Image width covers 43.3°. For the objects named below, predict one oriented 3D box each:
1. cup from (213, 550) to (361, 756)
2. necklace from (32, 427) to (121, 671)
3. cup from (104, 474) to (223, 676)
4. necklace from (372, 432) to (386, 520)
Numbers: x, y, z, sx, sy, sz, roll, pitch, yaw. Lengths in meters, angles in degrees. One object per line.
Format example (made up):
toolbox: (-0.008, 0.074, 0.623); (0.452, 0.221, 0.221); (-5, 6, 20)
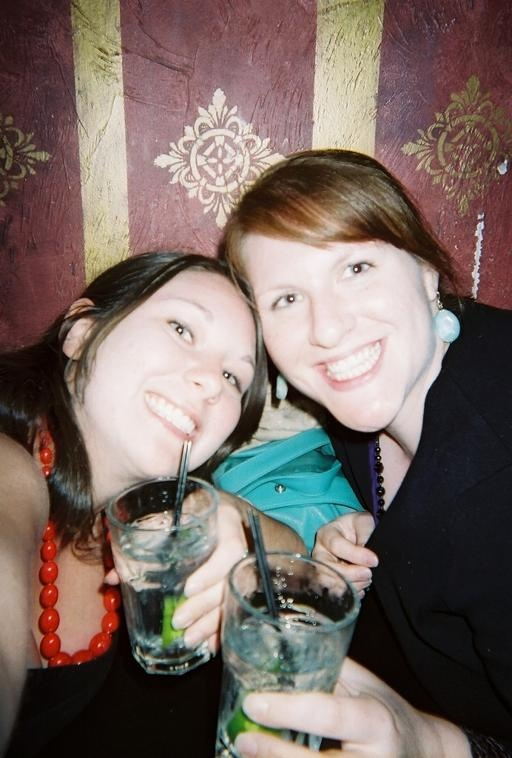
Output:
cup: (0.041, 0.460, 1.018); (0.187, 0.338, 0.189); (3, 24, -1)
necklace: (-0.475, 0.413, 1.563); (0.119, 0.468, 0.276); (-14, -9, -7)
cup: (-0.173, 0.358, 1.203); (0.191, 0.314, 0.224); (3, 24, -3)
necklace: (0.356, 0.291, 1.899); (0.035, 0.237, 0.044); (-2, -6, 14)
